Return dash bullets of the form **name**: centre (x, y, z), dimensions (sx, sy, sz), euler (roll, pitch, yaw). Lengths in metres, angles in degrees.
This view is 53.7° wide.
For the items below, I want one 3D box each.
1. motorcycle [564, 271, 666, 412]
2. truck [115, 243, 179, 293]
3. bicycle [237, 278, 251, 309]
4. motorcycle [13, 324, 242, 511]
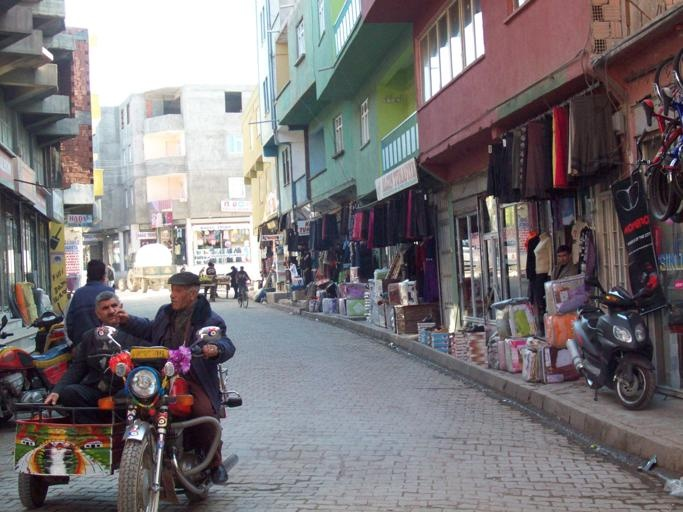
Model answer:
- **motorcycle**: centre (3.546, 1.137, 8.804), dimensions (0.456, 1.381, 1.400), euler (-1, 0, -10)
- **truck**: centre (-15.440, 0.866, 53.787), dimensions (2.962, 3.573, 5.508), euler (2, -7, -22)
- **bicycle**: centre (-4.848, 1.809, 33.298), dimensions (0.389, 1.356, 1.017), euler (-1, 0, -18)
- **motorcycle**: centre (-1.719, 1.411, 6.368), dimensions (1.076, 1.587, 2.247), euler (-2, -6, 22)
